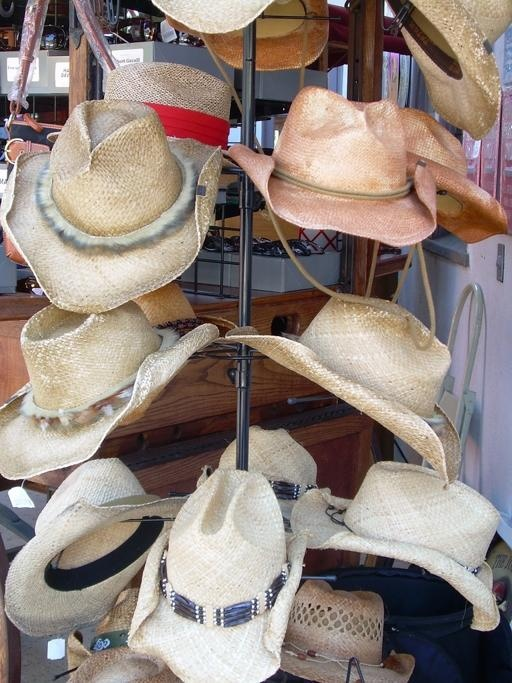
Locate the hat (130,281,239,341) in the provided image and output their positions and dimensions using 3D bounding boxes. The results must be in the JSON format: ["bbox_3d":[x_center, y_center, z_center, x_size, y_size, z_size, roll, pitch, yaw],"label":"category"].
[{"bbox_3d":[-0.130,-0.051,0.942,0.097,0.049,0.131,-19,7,0],"label":"hat"}]

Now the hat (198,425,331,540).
[{"bbox_3d":[0.020,0.208,1.056,0.214,0.076,0.155,28,8,40],"label":"hat"}]

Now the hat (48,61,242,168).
[{"bbox_3d":[-0.176,-0.378,0.949,0.243,0.092,0.181,19,19,9],"label":"hat"}]

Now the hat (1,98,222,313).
[{"bbox_3d":[-0.174,-0.187,0.713,0.267,0.200,0.295,-2,47,-2],"label":"hat"}]

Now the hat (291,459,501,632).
[{"bbox_3d":[0.154,0.258,0.837,0.307,0.154,0.235,5,14,4],"label":"hat"}]

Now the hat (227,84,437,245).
[{"bbox_3d":[0.085,-0.196,0.665,0.230,0.091,0.266,-2,46,-3],"label":"hat"}]

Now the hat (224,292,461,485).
[{"bbox_3d":[0.129,0.001,0.786,0.348,0.132,0.283,19,28,10],"label":"hat"}]
